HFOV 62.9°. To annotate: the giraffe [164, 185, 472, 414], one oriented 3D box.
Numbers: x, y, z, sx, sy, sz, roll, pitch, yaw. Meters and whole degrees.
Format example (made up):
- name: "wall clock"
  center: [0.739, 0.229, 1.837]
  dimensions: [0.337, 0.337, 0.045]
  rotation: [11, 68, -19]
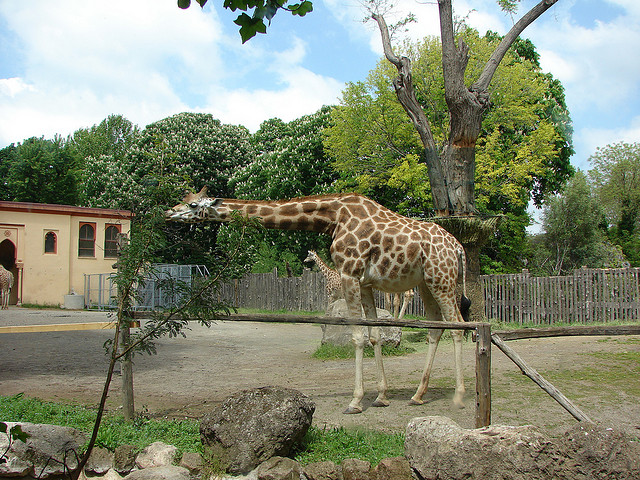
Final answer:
- name: "giraffe"
  center: [0.611, 0.983, 10.633]
  dimensions: [4.503, 3.247, 7.150]
  rotation: [-1, -4, 13]
